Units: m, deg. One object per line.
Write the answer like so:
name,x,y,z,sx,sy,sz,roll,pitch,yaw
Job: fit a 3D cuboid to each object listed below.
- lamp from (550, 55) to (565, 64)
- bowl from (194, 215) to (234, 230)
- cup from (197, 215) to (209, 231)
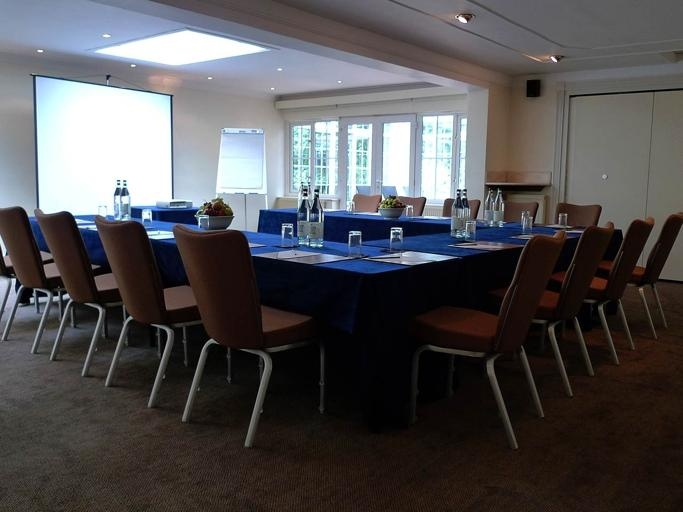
lamp,2.740,-2.538,6.279,0.111,0.055,0.135,-1,3,0
bowl,-0.931,-0.246,3.555,0.345,0.136,0.346,0,0,0
cup,-0.973,-0.237,3.507,0.100,0.106,0.095,1,2,0
